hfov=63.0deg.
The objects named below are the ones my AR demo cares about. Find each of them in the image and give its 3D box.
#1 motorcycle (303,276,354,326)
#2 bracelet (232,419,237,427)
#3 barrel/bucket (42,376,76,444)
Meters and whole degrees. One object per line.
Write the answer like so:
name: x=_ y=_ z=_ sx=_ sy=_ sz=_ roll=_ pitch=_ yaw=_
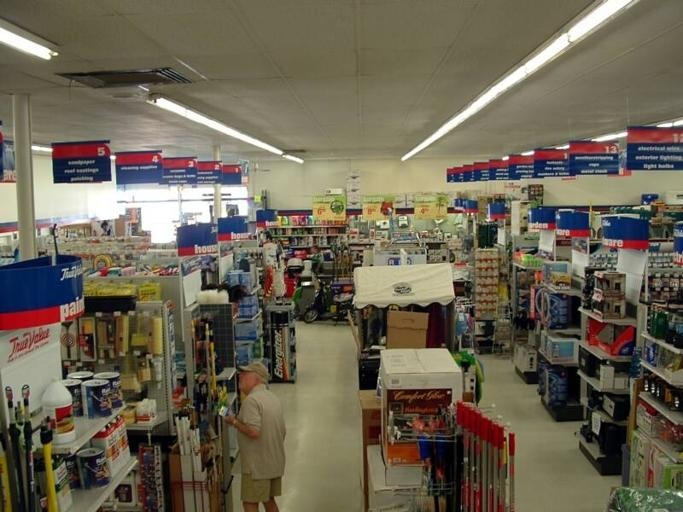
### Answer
motorcycle: x=-0.367 y=1.212 z=15.367 sx=1.629 sy=1.083 sz=0.864 roll=-1 pitch=5 yaw=8
bracelet: x=-1.179 y=1.848 z=6.174 sx=0.057 sy=0.060 sz=0.059 roll=2 pitch=-5 yaw=-13
barrel/bucket: x=-2.342 y=1.290 z=4.634 sx=0.223 sy=0.508 sz=0.159 roll=-5 pitch=7 yaw=-30
